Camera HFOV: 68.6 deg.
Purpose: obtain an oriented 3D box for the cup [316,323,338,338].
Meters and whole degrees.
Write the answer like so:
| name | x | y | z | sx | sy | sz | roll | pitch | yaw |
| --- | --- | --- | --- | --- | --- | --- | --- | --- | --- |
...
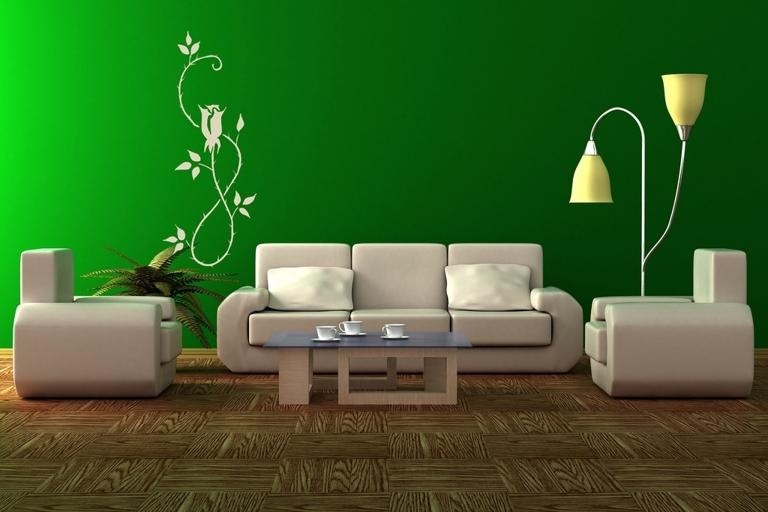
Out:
| name | x | y | z | sx | sy | sz | roll | pitch | yaw |
| --- | --- | --- | --- | --- | --- | --- | --- | --- | --- |
| cup | -0.375 | 0.496 | 3.728 | 0.125 | 0.069 | 0.100 | 0 | -4 | 7 |

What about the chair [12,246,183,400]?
| name | x | y | z | sx | sy | sz | roll | pitch | yaw |
| --- | --- | --- | --- | --- | --- | --- | --- | --- | --- |
| chair | -2.027 | 0.437 | 4.117 | 1.095 | 0.824 | 1.103 | 4 | 5 | -5 |

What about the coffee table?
| name | x | y | z | sx | sy | sz | roll | pitch | yaw |
| --- | --- | --- | --- | --- | --- | --- | --- | --- | --- |
| coffee table | -0.104 | 0.746 | 3.754 | 1.294 | 0.414 | 0.536 | 0 | 4 | 1 |

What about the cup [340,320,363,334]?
| name | x | y | z | sx | sy | sz | roll | pitch | yaw |
| --- | --- | --- | --- | --- | --- | --- | --- | --- | --- |
| cup | -0.221 | 0.483 | 3.867 | 0.163 | 0.067 | 0.104 | -1 | -4 | 3 |

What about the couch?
| name | x | y | z | sx | sy | sz | roll | pitch | yaw |
| --- | --- | --- | --- | --- | --- | --- | --- | --- | --- |
| couch | 0.117 | 0.407 | 4.667 | 2.888 | 0.865 | 0.776 | -1 | 13 | 2 |

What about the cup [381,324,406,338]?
| name | x | y | z | sx | sy | sz | roll | pitch | yaw |
| --- | --- | --- | --- | --- | --- | --- | --- | --- | --- |
| cup | 0.061 | 0.498 | 3.752 | 0.138 | 0.053 | 0.091 | -1 | -1 | -21 |

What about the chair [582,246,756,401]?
| name | x | y | z | sx | sy | sz | roll | pitch | yaw |
| --- | --- | --- | --- | --- | --- | --- | --- | --- | --- |
| chair | 1.832 | 0.418 | 4.092 | 1.128 | 0.895 | 1.131 | 0 | -4 | 6 |
